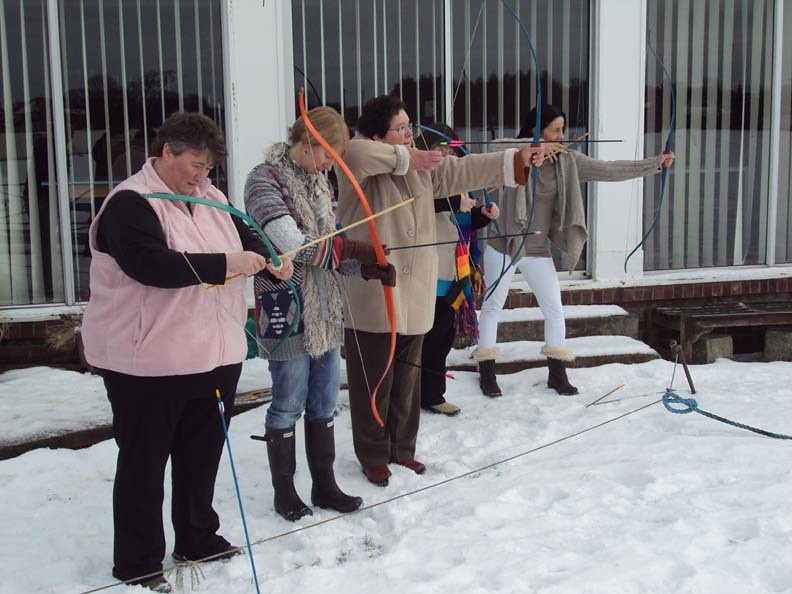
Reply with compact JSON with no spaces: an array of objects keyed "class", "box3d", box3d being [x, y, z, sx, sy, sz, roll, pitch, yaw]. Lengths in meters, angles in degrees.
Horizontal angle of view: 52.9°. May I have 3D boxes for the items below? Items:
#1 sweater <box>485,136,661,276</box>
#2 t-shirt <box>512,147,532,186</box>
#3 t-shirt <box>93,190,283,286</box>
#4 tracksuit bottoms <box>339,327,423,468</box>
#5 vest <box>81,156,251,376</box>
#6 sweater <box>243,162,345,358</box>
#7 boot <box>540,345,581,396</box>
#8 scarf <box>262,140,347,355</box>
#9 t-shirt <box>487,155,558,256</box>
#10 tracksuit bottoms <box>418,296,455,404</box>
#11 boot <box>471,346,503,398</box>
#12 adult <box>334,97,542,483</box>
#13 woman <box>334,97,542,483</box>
[{"class":"sweater","box3d":[1.283,-0.665,5.858,0.949,0.767,0.218,2,3,1]},{"class":"t-shirt","box3d":[0.685,-0.707,4.362,0.115,0.170,0.120,-9,4,-4]},{"class":"t-shirt","box3d":[-1.035,-0.234,3.565,0.450,0.231,0.428,19,-8,8]},{"class":"tracksuit bottoms","box3d":[-0.036,0.518,4.646,0.384,0.942,0.290,-3,5,-16]},{"class":"vest","box3d":[-1.007,-0.251,4.044,0.787,1.183,0.906,4,10,10]},{"class":"sweater","box3d":[-0.524,-0.178,4.060,0.233,1.037,0.512,5,12,31]},{"class":"boot","box3d":[1.216,0.522,5.660,0.310,0.389,0.211,4,6,34]},{"class":"scarf","box3d":[-0.413,-0.237,4.081,0.170,0.981,0.522,-6,-13,0]},{"class":"t-shirt","box3d":[0.851,-0.602,5.252,0.383,0.760,0.423,9,15,1]},{"class":"tracksuit bottoms","box3d":[0.319,0.295,5.452,0.202,0.875,0.200,5,7,-3]},{"class":"boot","box3d":[0.657,0.545,5.669,0.173,0.356,0.324,-1,-5,-8]},{"class":"adult","box3d":[0.245,-0.023,4.631,1.066,2.254,0.612,1,12,4]},{"class":"woman","box3d":[0.230,-0.031,4.649,1.032,2.272,0.614,1,13,2]}]
